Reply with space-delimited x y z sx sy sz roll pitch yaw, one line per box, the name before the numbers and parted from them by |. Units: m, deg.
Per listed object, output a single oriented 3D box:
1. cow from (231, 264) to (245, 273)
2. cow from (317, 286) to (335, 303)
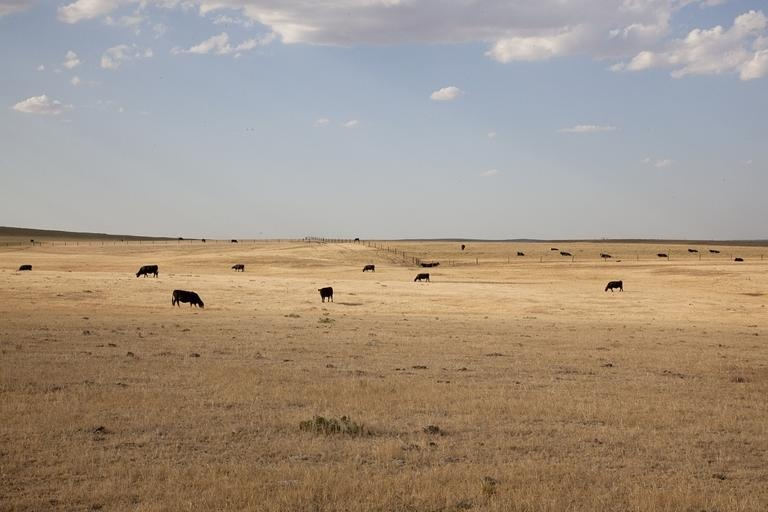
cow | -14.688 1.203 78.661 1.987 0.877 0.748 2 -3 20
cow | -3.671 2.408 50.461 0.834 0.885 2.234 1 5 1
